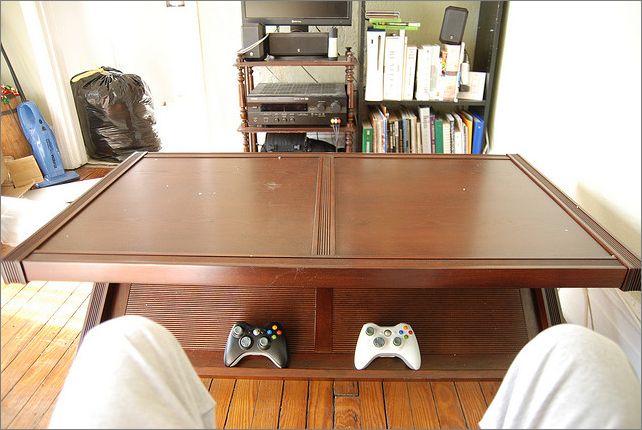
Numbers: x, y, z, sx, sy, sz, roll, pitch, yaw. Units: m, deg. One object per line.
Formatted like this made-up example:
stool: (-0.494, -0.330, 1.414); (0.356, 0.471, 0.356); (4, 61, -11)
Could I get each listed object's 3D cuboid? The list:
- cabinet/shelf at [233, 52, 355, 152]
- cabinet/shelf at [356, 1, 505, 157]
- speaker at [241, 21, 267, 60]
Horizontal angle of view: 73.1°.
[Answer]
cabinet/shelf: (-0.150, -0.760, 3.339); (0.976, 0.752, 0.718); (-1, 32, 2)
cabinet/shelf: (0.789, -1.006, 3.193); (0.965, 1.028, 0.574); (0, 27, 4)
speaker: (-0.463, -1.198, 3.004); (0.156, 0.232, 0.243); (-4, 26, -3)
